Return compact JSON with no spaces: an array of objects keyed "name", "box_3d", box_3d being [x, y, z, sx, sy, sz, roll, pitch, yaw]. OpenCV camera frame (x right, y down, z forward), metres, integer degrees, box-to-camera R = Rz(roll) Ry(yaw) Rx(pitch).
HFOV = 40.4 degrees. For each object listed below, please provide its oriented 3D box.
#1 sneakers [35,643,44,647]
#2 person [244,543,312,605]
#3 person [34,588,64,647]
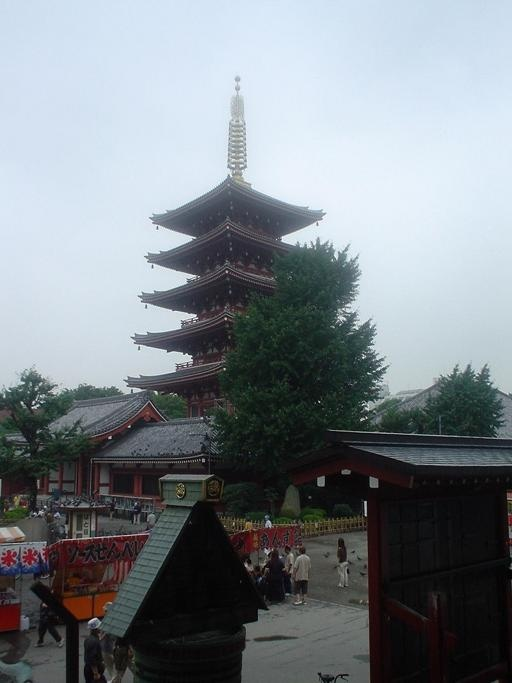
[{"name":"sneakers","box_3d":[-3.888,5.429,12.463,0.132,0.123,0.059,3,-20,2]},{"name":"person","box_3d":[0.695,5.283,15.945,1.118,1.264,1.122,-3,-6,17]},{"name":"person","box_3d":[-3.697,4.973,12.602,0.472,1.065,0.312,10,-3,-13]}]
